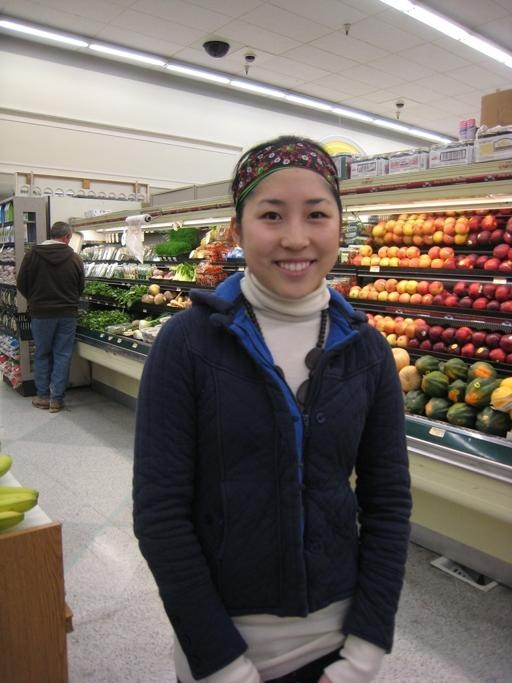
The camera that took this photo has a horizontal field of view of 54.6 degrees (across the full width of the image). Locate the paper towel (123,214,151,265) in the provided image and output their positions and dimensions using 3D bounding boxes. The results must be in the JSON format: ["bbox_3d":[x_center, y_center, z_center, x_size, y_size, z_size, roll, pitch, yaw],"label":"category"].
[{"bbox_3d":[-1.177,-1.009,4.864,0.125,0.368,0.364,-19,36,-28],"label":"paper towel"}]

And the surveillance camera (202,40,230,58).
[{"bbox_3d":[-0.654,-4.768,8.096,0.430,0.207,0.306,-1,10,-5],"label":"surveillance camera"}]

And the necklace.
[{"bbox_3d":[0.041,0.016,0.823,0.151,0.172,0.056,-4,-1,-24],"label":"necklace"}]
